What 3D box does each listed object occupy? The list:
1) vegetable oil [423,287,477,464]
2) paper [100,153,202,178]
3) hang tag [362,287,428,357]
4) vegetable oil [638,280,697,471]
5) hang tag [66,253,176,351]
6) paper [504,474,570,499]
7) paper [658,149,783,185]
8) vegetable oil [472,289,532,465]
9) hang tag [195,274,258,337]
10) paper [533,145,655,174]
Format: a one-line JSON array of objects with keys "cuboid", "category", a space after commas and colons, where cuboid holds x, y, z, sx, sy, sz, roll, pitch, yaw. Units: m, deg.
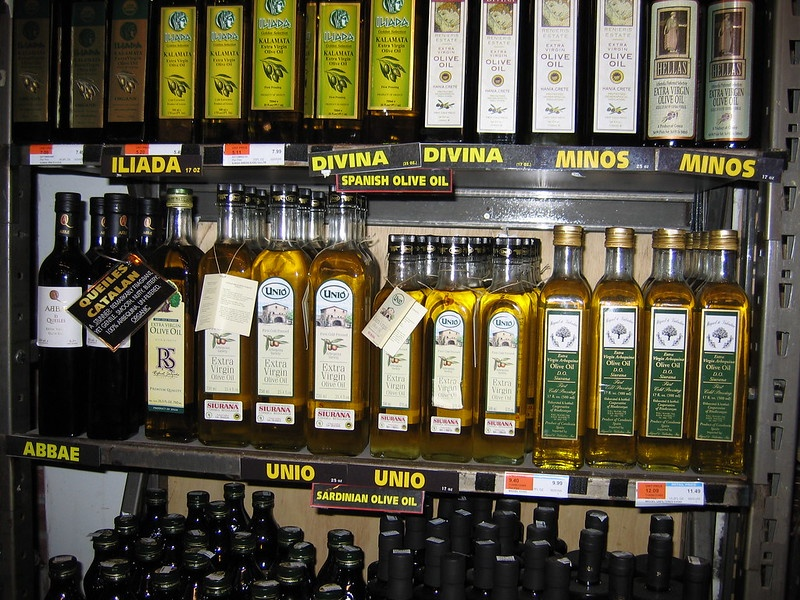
[{"cuboid": [0.114, 0.168, 1.898, 0.112, 0.392, 0.083, 1, -8, 1], "category": "vegetable oil"}, {"cuboid": [-0.562, -0.304, 1.925, 0.244, 0.043, 0.077, 1, -7, 6], "category": "paper"}, {"cuboid": [-0.013, 0.047, 1.876, 0.149, 0.142, 0.035, 42, 8, 25], "category": "hang tag"}, {"cuboid": [0.593, 0.171, 1.867, 0.112, 0.415, 0.092, -1, -9, 15], "category": "vegetable oil"}, {"cuboid": [-0.637, 0.004, 1.945, 0.203, 0.221, 0.051, 41, 0, 4], "category": "hang tag"}, {"cuboid": [0.297, 0.394, 1.810, 0.165, 0.047, 0.057, 4, -7, 3], "category": "paper"}, {"cuboid": [0.690, -0.290, 1.796, 0.276, 0.068, 0.038, 1, -8, 3], "category": "paper"}, {"cuboid": [0.234, 0.174, 1.886, 0.126, 0.387, 0.087, 1, -8, 5], "category": "vegetable oil"}, {"cuboid": [-0.393, 0.018, 1.909, 0.142, 0.140, 0.037, 8, -4, 11], "category": "hang tag"}, {"cuboid": [0.422, -0.307, 1.803, 0.255, 0.049, 0.011, 1, -8, 3], "category": "paper"}]
